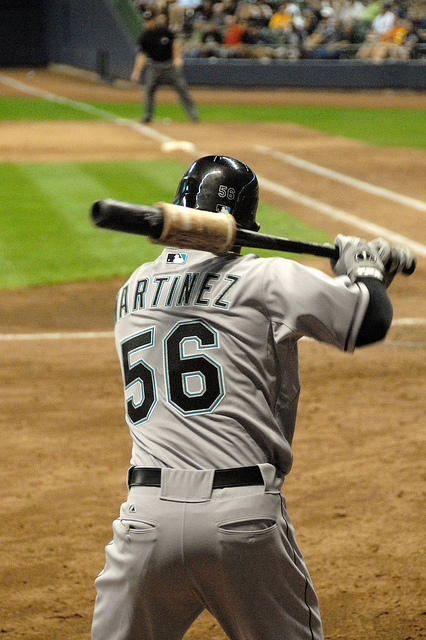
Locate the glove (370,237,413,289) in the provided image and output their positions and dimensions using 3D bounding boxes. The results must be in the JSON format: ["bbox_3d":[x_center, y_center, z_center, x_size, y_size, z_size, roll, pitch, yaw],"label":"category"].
[{"bbox_3d":[0.491,-0.150,2.357,0.140,0.139,0.063,6,-7,-41],"label":"glove"}]

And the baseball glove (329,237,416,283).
[{"bbox_3d":[0.407,-0.159,2.235,0.179,0.047,0.162,8,9,-31],"label":"baseball glove"}]

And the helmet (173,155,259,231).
[{"bbox_3d":[0.017,-0.360,2.340,0.259,0.162,0.182,7,11,-36],"label":"helmet"}]

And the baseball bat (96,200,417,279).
[{"bbox_3d":[0.137,-0.201,2.225,0.101,0.088,1.352,20,10,33],"label":"baseball bat"}]

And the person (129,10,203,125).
[{"bbox_3d":[-0.511,-2.824,9.310,0.748,1.276,1.610,4,12,-3],"label":"person"}]
